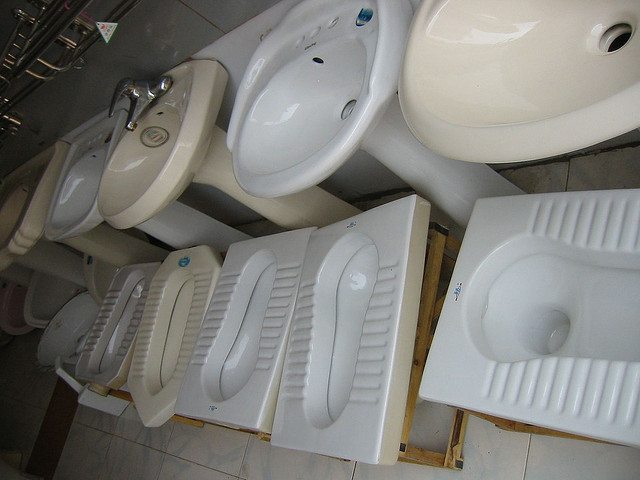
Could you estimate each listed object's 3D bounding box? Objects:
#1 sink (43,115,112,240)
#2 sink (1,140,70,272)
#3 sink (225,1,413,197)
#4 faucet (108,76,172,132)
[{"bbox_3d":[-1.047,-0.288,1.919,0.117,0.457,0.282,19,-26,-32],"label":"sink"},{"bbox_3d":[-1.417,-0.205,2.200,0.109,0.488,0.450,23,-30,-35],"label":"sink"},{"bbox_3d":[-0.040,-0.370,1.072,0.192,0.469,0.574,5,-1,-35],"label":"sink"},{"bbox_3d":[-0.620,-0.504,1.636,0.121,0.198,0.269,15,32,28],"label":"faucet"}]
